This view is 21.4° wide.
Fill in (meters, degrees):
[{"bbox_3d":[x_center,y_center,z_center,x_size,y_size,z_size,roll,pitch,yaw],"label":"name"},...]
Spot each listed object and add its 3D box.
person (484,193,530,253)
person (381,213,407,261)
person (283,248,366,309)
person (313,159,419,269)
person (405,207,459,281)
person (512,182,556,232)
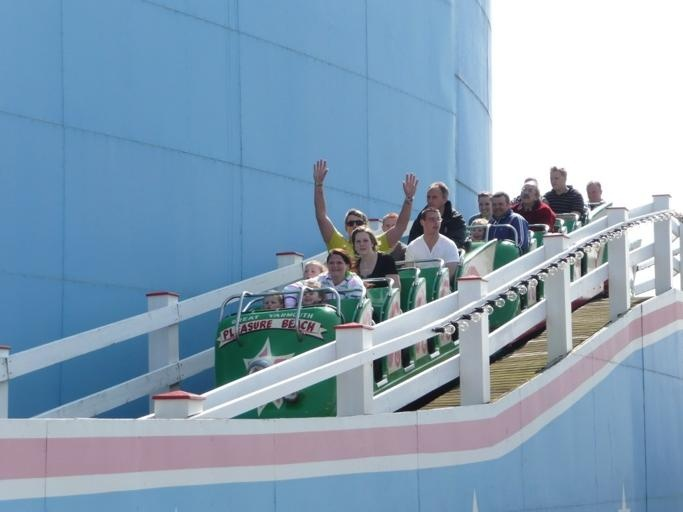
[{"bbox_3d":[2.229,-0.444,23.680,0.567,0.619,1.227,9,12,4],"label":"person"},{"bbox_3d":[0.673,-0.222,23.021,0.510,0.248,0.743,-6,34,5],"label":"person"},{"bbox_3d":[-0.097,0.343,20.982,0.760,0.832,1.107,0,3,15],"label":"person"},{"bbox_3d":[0.280,-0.532,24.037,1.109,1.656,0.453,4,-17,-7],"label":"person"},{"bbox_3d":[1.124,-0.065,22.484,0.637,1.086,0.591,-1,-28,2],"label":"person"},{"bbox_3d":[2.544,-0.586,23.930,0.455,0.907,0.527,8,-15,-43],"label":"person"}]
